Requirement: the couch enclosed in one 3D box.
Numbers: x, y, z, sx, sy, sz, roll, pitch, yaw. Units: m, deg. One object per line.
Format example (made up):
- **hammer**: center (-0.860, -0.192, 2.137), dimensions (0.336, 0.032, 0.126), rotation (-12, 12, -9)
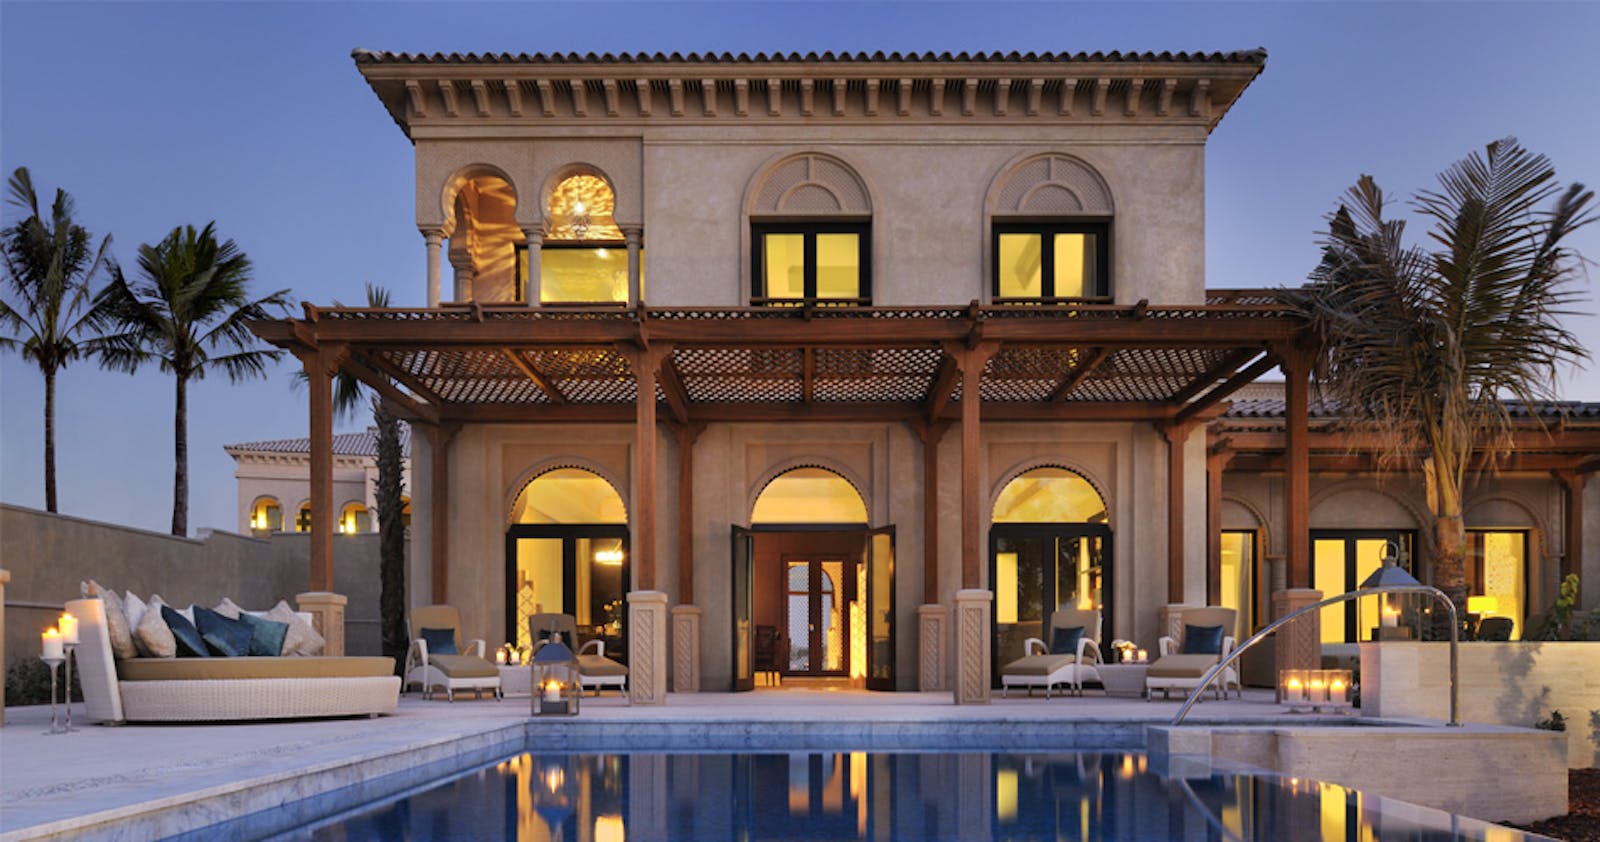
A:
- **couch**: center (-14.368, 6.374, 53.781), dimensions (9.593, 3.719, 5.905), rotation (1, -4, -14)
